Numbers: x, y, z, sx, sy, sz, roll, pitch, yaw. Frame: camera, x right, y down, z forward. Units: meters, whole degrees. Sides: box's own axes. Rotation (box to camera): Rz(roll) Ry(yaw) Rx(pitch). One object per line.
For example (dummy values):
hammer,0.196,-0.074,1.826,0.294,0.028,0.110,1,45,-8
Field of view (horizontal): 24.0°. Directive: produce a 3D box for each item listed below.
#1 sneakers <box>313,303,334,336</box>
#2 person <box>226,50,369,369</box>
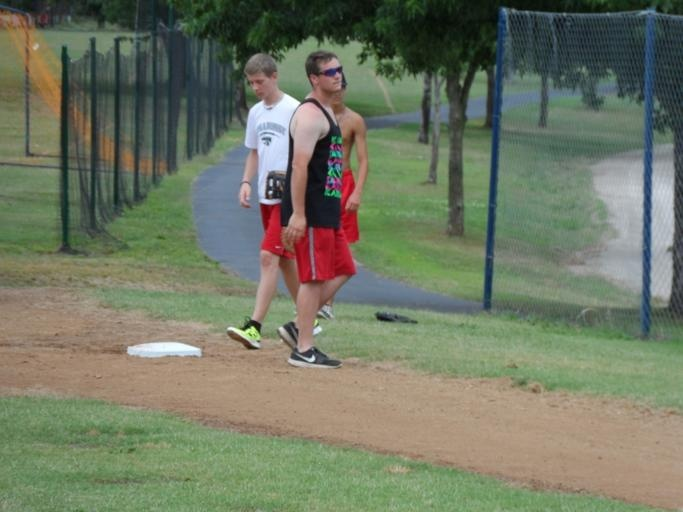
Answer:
sneakers,-0.239,0.801,21.763,0.162,0.232,0.465,0,14,11
person,-0.315,-0.590,19.831,0.854,3.851,0.764,3,11,-2
